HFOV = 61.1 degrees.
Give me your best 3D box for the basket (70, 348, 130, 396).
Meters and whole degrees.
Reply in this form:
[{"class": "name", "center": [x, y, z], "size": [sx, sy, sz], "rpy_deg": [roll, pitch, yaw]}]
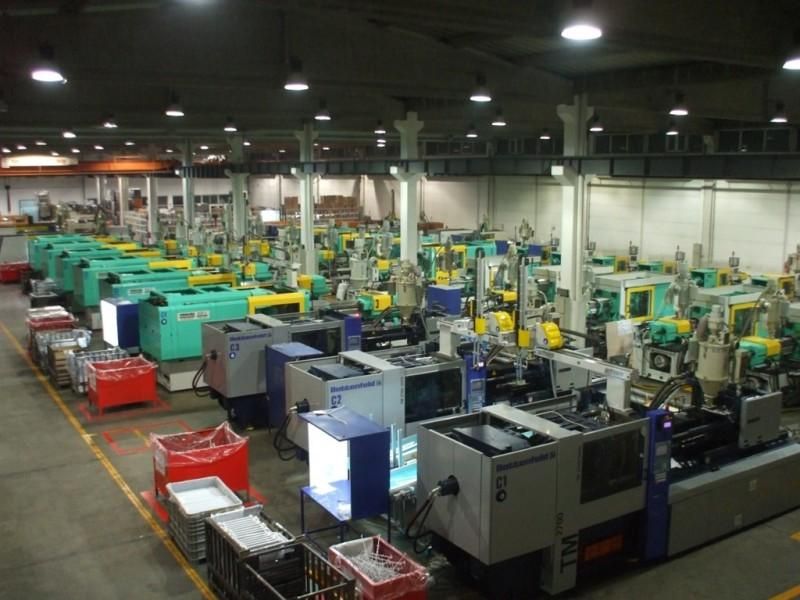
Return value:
[{"class": "basket", "center": [-6.302, 1.507, 14.089], "size": [0.968, 0.862, 0.854], "rpy_deg": [-6, 10, -25]}]
